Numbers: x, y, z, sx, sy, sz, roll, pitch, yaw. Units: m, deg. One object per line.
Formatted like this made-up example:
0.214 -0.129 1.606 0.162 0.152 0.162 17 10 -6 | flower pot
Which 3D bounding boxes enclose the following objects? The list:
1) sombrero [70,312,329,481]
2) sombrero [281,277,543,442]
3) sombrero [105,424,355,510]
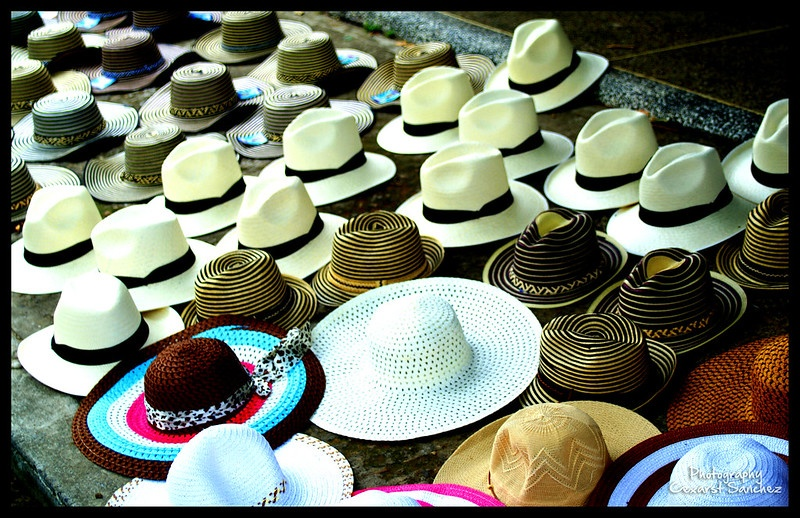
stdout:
-1.221 0.885 4.662 1.094 0.306 1.188 5 32 38 | sombrero
0.141 0.567 4.678 1.540 0.513 1.139 -10 60 1 | sombrero
-0.977 1.084 4.126 0.809 0.255 0.863 -2 16 33 | sombrero
